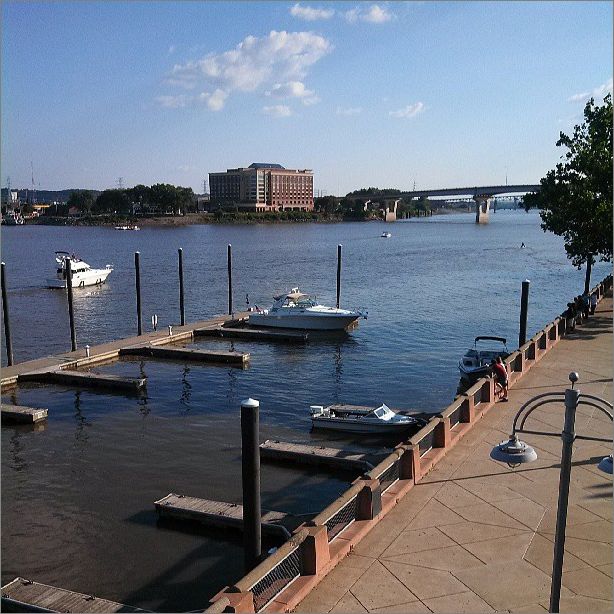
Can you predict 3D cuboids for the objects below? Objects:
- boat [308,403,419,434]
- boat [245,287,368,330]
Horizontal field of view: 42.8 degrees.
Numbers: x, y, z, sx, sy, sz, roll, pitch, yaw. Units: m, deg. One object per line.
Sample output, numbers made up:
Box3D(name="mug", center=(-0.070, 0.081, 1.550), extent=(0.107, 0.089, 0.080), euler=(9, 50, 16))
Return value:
Box3D(name="boat", center=(1.979, 3.893, 27.235), extent=(3.969, 1.205, 1.367), euler=(2, 10, 16))
Box3D(name="boat", center=(0.651, 0.339, 48.145), extent=(8.600, 3.186, 2.770), euler=(2, 13, 8))
